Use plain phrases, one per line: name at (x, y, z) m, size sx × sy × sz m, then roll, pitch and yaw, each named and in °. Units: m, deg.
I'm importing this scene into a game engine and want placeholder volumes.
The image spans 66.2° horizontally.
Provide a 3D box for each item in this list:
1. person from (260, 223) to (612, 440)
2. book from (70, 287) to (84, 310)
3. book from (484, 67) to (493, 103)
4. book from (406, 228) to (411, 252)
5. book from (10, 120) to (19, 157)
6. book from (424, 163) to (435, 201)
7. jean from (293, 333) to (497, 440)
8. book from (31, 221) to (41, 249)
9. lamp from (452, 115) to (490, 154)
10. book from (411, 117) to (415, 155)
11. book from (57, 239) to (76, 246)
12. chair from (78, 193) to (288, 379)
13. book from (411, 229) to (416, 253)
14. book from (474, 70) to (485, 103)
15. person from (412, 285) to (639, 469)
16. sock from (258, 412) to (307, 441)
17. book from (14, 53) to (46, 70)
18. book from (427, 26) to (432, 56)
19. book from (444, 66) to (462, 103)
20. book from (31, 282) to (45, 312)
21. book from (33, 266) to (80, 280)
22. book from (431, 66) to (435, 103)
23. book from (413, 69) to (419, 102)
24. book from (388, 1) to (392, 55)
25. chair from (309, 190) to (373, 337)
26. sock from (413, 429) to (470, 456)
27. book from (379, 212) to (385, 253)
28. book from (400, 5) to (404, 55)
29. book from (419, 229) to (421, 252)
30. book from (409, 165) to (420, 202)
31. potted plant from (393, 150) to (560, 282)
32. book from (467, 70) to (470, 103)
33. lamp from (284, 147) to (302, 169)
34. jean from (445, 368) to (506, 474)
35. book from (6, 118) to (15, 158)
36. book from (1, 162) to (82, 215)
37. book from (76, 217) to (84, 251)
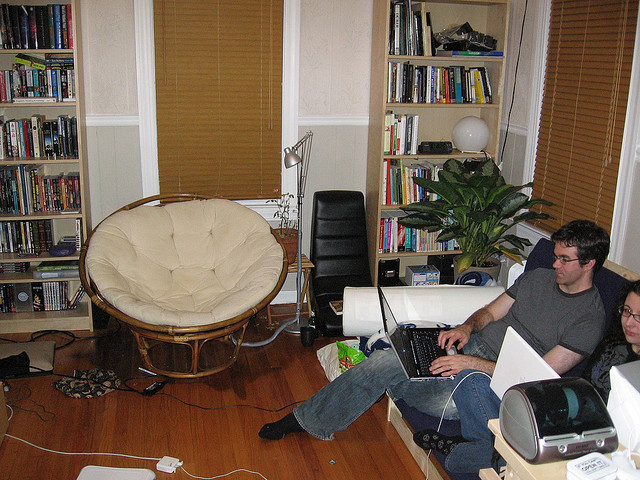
person at (0.563, 0.588, 2.779) m, size 1.976 × 1.166 × 0.839 m, roll -9°, pitch 17°, yaw 0°
book at (-1.989, 0.464, 4.017) m, size 0.028 × 0.251 × 0.028 m, roll 34°, pitch -15°, yaw -35°
book at (1.436, -1.321, 4.193) m, size 0.070 × 0.284 × 0.128 m, roll 2°, pitch 16°, yaw 21°
book at (0.768, -0.004, 4.268) m, size 0.042 × 0.206 × 0.025 m, roll -5°, pitch 15°, yaw -5°
book at (-2.304, -0.777, 3.719) m, size 0.035 × 0.270 × 0.220 m, roll -1°, pitch 14°, yaw -14°
book at (0.956, -0.514, 4.273) m, size 0.064 × 0.304 × 0.155 m, roll -3°, pitch 15°, yaw 3°
jean at (0.392, 0.972, 2.779) m, size 0.911 × 0.273 × 0.562 m, roll -27°, pitch 27°, yaw 3°
book at (-2.235, -0.043, 3.879) m, size 0.062 × 0.224 × 0.018 m, roll -13°, pitch 18°, yaw -29°
lamp at (1.226, -0.884, 4.186) m, size 0.296 × 0.314 × 0.296 m, roll 2°, pitch 7°, yaw -3°
book at (0.773, -0.876, 4.102) m, size 0.032 × 0.290 × 0.012 m, roll -7°, pitch 15°, yaw -9°
book at (-2.037, 0.017, 3.985) m, size 0.195 × 0.033 × 0.070 m, roll 0°, pitch 15°, yaw 15°
chair at (-0.992, 0.341, 3.705) m, size 1.436 × 0.804 × 1.442 m, roll 28°, pitch 32°, yaw 34°
book at (0.813, -0.001, 4.277) m, size 0.043 × 0.200 × 0.023 m, roll -4°, pitch 15°, yaw -1°
book at (1.338, -1.293, 4.144) m, size 0.082 × 0.256 × 0.024 m, roll -2°, pitch 15°, yaw 7°
person at (0.934, 0.592, 2.323) m, size 0.865 × 0.561 × 0.813 m, roll -2°, pitch 15°, yaw -7°
sock at (-0.189, 1.104, 2.870) m, size 0.133 × 0.171 × 0.368 m, roll 24°, pitch -25°, yaw -38°
book at (-2.155, -1.332, 3.658) m, size 0.218 × 0.130 × 0.060 m, roll -4°, pitch 15°, yaw 2°
book at (0.875, -1.591, 3.928) m, size 0.033 × 0.223 × 0.047 m, roll 0°, pitch 16°, yaw 14°
book at (1.101, -1.304, 4.093) m, size 0.155 × 0.286 × 0.214 m, roll -3°, pitch 18°, yaw -2°
book at (-2.256, 0.448, 3.944) m, size 0.110 × 0.246 × 0.010 m, roll -5°, pitch 15°, yaw -5°
book at (-2.072, 0.270, 3.861) m, size 0.343 × 0.077 × 0.053 m, roll -4°, pitch 15°, yaw 1°
book at (0.929, -1.284, 4.058) m, size 0.035 × 0.272 × 0.008 m, roll -10°, pitch 16°, yaw -21°
book at (0.786, -1.268, 4.032) m, size 0.057 × 0.255 × 0.025 m, roll -5°, pitch 15°, yaw -3°
book at (0.546, -1.669, 3.860) m, size 0.015 × 0.385 × 0.069 m, roll 6°, pitch 18°, yaw 33°
chair at (0.164, 0.186, 4.035) m, size 0.512 × 1.111 × 0.656 m, roll -4°, pitch 15°, yaw 1°
sock at (0.594, 0.976, 2.485) m, size 0.281 × 0.092 × 0.123 m, roll 16°, pitch -10°, yaw 13°
book at (0.536, -0.057, 4.237) m, size 0.047 × 0.308 × 0.119 m, roll 0°, pitch 16°, yaw 13°
book at (0.640, -1.662, 3.879) m, size 0.033 × 0.361 × 0.028 m, roll -4°, pitch 15°, yaw -1°
book at (0.872, 0.003, 4.293) m, size 0.013 × 0.182 × 0.025 m, roll 0°, pitch 16°, yaw 15°
book at (0.821, -0.503, 4.268) m, size 0.049 × 0.295 × 0.129 m, roll -9°, pitch 16°, yaw -17°
potted plant at (1.278, -0.253, 3.774) m, size 1.143 × 0.994 × 1.140 m, roll -3°, pitch 9°, yaw -17°
book at (1.242, -1.280, 4.118) m, size 0.015 × 0.232 × 0.027 m, roll -3°, pitch 15°, yaw 5°
lamp at (-0.225, -0.639, 3.766) m, size 0.128 × 0.134 × 0.126 m, roll -26°, pitch 2°, yaw 41°
jean at (0.727, 0.853, 2.347) m, size 0.160 × 0.409 × 0.324 m, roll 2°, pitch -1°, yaw 17°
book at (-2.336, -0.769, 3.717) m, size 0.037 × 0.278 × 0.237 m, roll -3°, pitch 11°, yaw -18°
book at (-2.171, -0.389, 3.812) m, size 0.373 × 0.257 × 0.183 m, roll -1°, pitch 17°, yaw -2°
book at (-1.880, -0.058, 3.859) m, size 0.031 × 0.296 × 0.219 m, roll -1°, pitch 8°, yaw -18°
